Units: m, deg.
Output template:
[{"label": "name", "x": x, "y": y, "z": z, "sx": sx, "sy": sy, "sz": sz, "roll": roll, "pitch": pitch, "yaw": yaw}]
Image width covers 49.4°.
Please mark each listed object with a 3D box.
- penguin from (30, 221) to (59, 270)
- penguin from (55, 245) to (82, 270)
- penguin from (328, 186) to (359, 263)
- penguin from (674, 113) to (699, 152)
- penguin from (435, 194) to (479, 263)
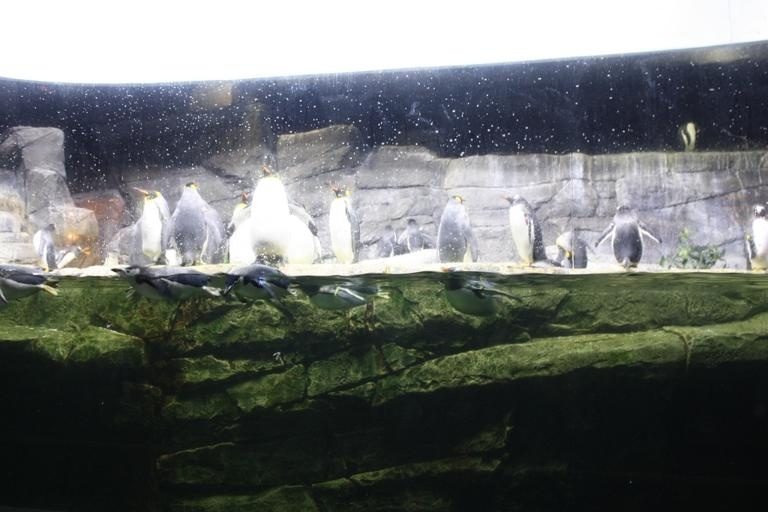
[{"label": "penguin", "x": -5.636, "y": -0.163, "z": 14.065, "sx": 0.306, "sy": 0.875, "sz": 0.383, "roll": -5, "pitch": 9, "yaw": 1}, {"label": "penguin", "x": -5.267, "y": 0.012, "z": 13.961, "sx": 0.264, "sy": 0.420, "sz": 0.144, "roll": 24, "pitch": -15, "yaw": -8}, {"label": "penguin", "x": -0.674, "y": -0.546, "z": 13.747, "sx": 0.450, "sy": 1.270, "sz": 0.499, "roll": 2, "pitch": -7, "yaw": -5}, {"label": "penguin", "x": 5.046, "y": -2.114, "z": 14.005, "sx": 0.415, "sy": 0.549, "sz": 0.144, "roll": -3, "pitch": 12, "yaw": 6}, {"label": "penguin", "x": 1.175, "y": -0.450, "z": 13.982, "sx": 0.669, "sy": 1.159, "sz": 0.272, "roll": -6, "pitch": -5, "yaw": 4}]
